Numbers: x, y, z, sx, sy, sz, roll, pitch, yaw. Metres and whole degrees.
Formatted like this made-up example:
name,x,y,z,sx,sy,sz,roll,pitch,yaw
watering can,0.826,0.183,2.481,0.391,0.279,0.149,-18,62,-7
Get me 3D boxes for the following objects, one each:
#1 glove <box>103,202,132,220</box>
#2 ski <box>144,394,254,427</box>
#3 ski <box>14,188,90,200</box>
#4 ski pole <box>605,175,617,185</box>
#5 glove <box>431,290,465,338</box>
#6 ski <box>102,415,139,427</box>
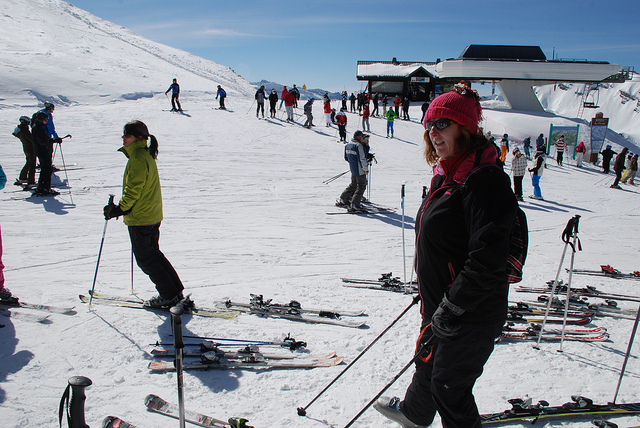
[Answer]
name,x,y,z,sx,sy,sz,roll,pitch,yaw
glove,-3.647,-0.039,9.379,0.388,0.179,0.278,-6,13,-11
ski,-1.930,3.032,7.962,1.707,0.291,0.203,5,9,14
ski,-8.075,-0.566,15.806,2.084,0.217,0.205,-5,12,-43
ski pole,12.874,-1.459,23.037,1.637,0.064,0.052,-26,5,-42
glove,1.684,1.336,6.830,0.393,0.581,0.159,5,9,12
ski,-2.906,3.054,7.698,0.541,0.158,0.218,14,-13,-15
